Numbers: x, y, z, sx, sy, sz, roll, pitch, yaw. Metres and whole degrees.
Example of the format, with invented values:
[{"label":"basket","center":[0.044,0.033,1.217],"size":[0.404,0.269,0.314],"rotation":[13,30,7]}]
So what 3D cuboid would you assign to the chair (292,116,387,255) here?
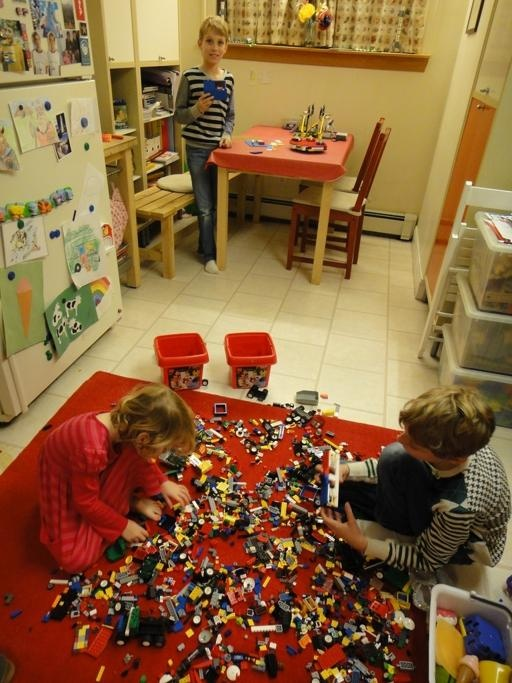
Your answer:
[{"label":"chair","center":[0.601,-1.155,3.418],"size":[0.575,1.069,0.626],"rotation":[14,45,9]}]

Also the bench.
[{"label":"bench","center":[-0.486,-0.827,3.327],"size":[0.277,0.418,1.071],"rotation":[12,44,13]}]

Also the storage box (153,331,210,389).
[{"label":"storage box","center":[-0.327,0.080,2.084],"size":[0.236,0.201,0.260],"rotation":[-3,31,-9]}]

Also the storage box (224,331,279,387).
[{"label":"storage box","center":[-0.035,0.039,2.126],"size":[0.230,0.197,0.255],"rotation":[1,34,-2]}]

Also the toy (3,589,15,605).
[{"label":"toy","center":[-0.647,0.662,1.222],"size":[0.018,0.007,0.024],"rotation":[5,21,-1]}]

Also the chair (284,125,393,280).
[{"label":"chair","center":[0.609,-1.016,3.425],"size":[0.624,1.119,0.658],"rotation":[12,45,8]}]

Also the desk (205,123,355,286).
[{"label":"desk","center":[0.167,-1.063,3.469],"size":[0.892,0.811,1.133],"rotation":[10,34,7]}]
